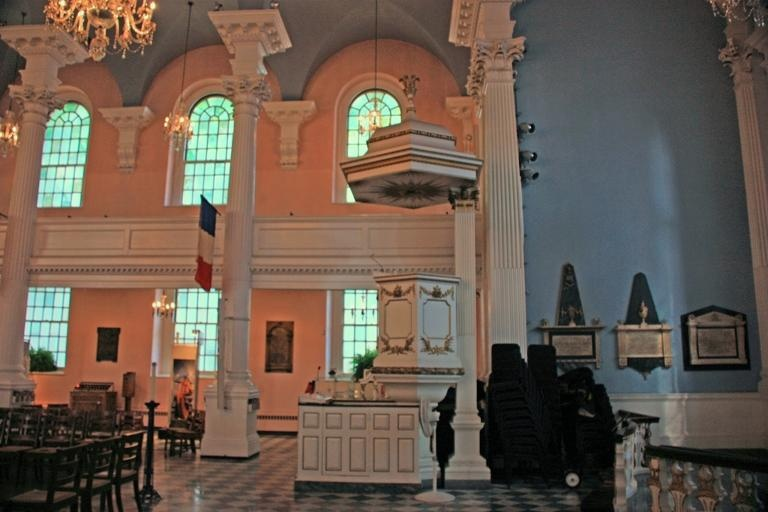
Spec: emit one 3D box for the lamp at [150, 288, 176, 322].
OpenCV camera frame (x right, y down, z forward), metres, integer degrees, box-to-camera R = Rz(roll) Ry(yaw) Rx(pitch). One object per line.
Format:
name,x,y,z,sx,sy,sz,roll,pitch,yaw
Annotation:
lamp,-6.055,1.292,20.188,0.642,0.813,0.799,1,-11,-17

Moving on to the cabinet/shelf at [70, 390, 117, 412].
cabinet/shelf,-7.587,3.759,19.138,1.053,0.641,0.647,0,-8,-1

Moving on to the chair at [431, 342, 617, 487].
chair,3.006,2.975,13.995,2.446,2.622,1.184,-2,-11,1
